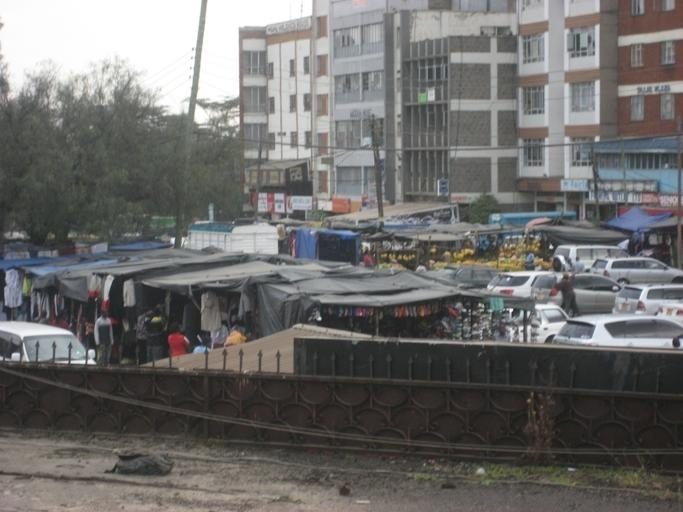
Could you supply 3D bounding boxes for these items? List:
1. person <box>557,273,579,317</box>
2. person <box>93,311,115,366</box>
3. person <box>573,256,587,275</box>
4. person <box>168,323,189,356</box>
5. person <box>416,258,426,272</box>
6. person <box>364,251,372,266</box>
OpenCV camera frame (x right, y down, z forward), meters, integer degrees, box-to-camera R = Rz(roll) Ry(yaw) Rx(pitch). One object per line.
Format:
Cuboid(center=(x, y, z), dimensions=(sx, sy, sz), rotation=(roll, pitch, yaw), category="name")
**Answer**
Cuboid(center=(9.711, 1.611, 71.237), dimensions=(0.791, 1.776, 1.251), rotation=(-2, 3, 8), category="person")
Cuboid(center=(-9.394, 3.169, 66.402), dimensions=(0.741, 2.076, 0.977), rotation=(-3, 3, -9), category="person")
Cuboid(center=(11.142, 0.478, 78.029), dimensions=(0.575, 1.233, 0.818), rotation=(-2, 2, 20), category="person")
Cuboid(center=(-6.353, 3.574, 65.487), dimensions=(0.706, 2.296, 0.672), rotation=(-1, 37, -2), category="person")
Cuboid(center=(3.928, 0.558, 80.935), dimensions=(0.481, 0.751, 0.221), rotation=(14, -11, -30), category="person")
Cuboid(center=(1.445, 0.135, 83.713), dimensions=(0.245, 0.740, 0.906), rotation=(-4, 3, -29), category="person")
